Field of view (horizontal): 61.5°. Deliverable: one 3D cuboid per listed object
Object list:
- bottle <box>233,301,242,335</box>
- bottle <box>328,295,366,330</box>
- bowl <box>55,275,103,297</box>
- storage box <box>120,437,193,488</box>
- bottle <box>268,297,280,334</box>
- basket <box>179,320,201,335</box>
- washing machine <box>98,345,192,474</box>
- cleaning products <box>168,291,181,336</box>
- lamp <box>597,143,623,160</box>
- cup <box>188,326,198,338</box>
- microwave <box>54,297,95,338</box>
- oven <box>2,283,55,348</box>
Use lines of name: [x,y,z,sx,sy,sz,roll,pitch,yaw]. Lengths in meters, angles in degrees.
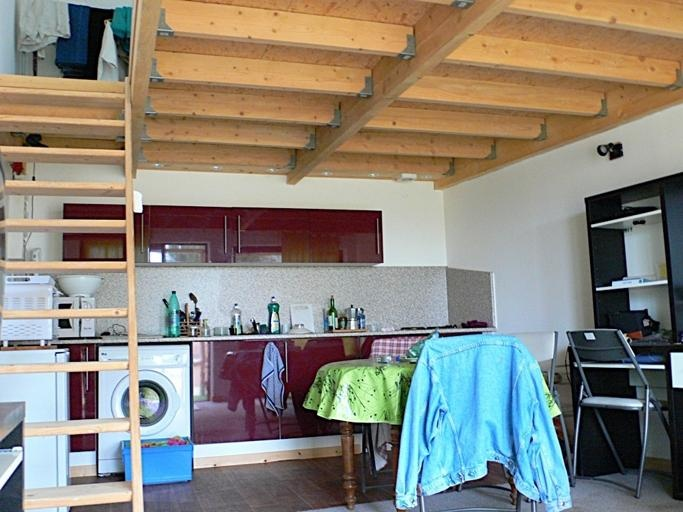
bottle: [-1.094,0.645,5.928,0.108,0.312,0.215,-2,-6,-9]
bottle: [0.041,0.622,6.323,0.459,0.385,0.231,-1,-6,-10]
bowl: [-2.454,0.280,5.347,0.373,0.206,0.197,0,-6,-20]
storage box: [-1.486,1.681,4.621,0.527,0.359,0.568,0,-6,-19]
bottle: [-0.730,0.624,6.096,0.137,0.383,0.138,-3,-6,0]
basket: [-1.518,0.728,5.737,0.264,0.151,0.130,1,2,-15]
washing machine: [-1.942,1.379,5.024,1.116,1.011,0.995,2,-20,-27]
cleaning products: [-1.665,0.566,5.677,0.119,0.456,0.354,-1,-6,-17]
lamp: [2.358,-0.927,5.115,0.208,0.122,0.182,-3,-12,-2]
cup: [-1.480,0.756,5.698,0.117,0.117,0.103,-2,6,-16]
microwave: [-2.332,0.538,5.020,0.301,0.383,0.635,0,-6,-24]
oven: [-2.364,0.406,4.278,0.349,0.517,0.362,0,-6,-20]
